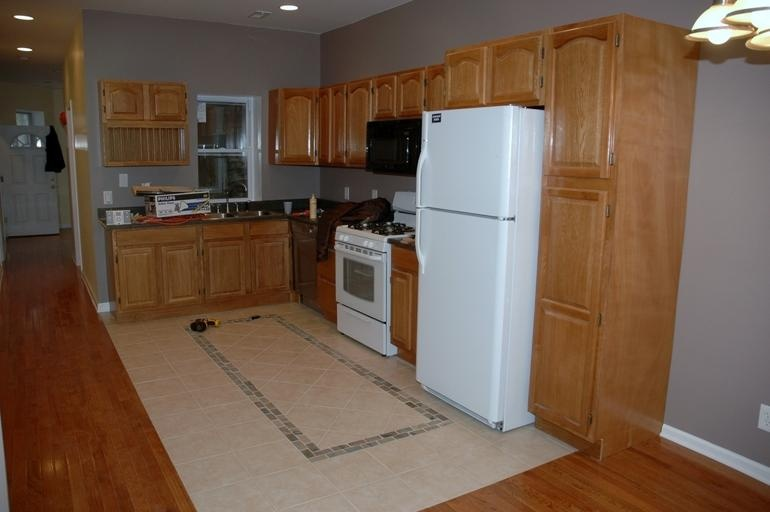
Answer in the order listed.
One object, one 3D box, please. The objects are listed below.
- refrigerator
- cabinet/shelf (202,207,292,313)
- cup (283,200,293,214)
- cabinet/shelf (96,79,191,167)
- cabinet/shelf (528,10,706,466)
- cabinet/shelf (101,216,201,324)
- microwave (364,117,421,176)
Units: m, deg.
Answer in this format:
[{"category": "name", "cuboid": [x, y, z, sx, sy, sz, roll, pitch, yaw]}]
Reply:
[{"category": "refrigerator", "cuboid": [0.694, 0.093, 4.278, 0.997, 2.409, 0.466, 10, 17, 41]}, {"category": "cabinet/shelf", "cuboid": [-1.833, 0.089, 6.737, 1.237, 1.107, 0.656, -5, 5, -45]}, {"category": "cup", "cuboid": [-1.214, -0.608, 6.923, 0.181, 0.185, 0.173, 2, 7, 0]}, {"category": "cabinet/shelf", "cuboid": [-2.665, -1.492, 6.353, 1.071, 0.964, 0.321, 3, 7, 11]}, {"category": "cabinet/shelf", "cuboid": [1.591, -0.091, 3.847, 1.015, 2.964, 0.688, 2, 13, 14]}, {"category": "cabinet/shelf", "cuboid": [-2.570, 0.139, 6.067, 1.202, 1.204, 0.643, -3, 6, -31]}, {"category": "microwave", "cuboid": [0.167, -1.073, 5.627, 0.421, 0.542, 0.794, -6, 13, -39]}]
